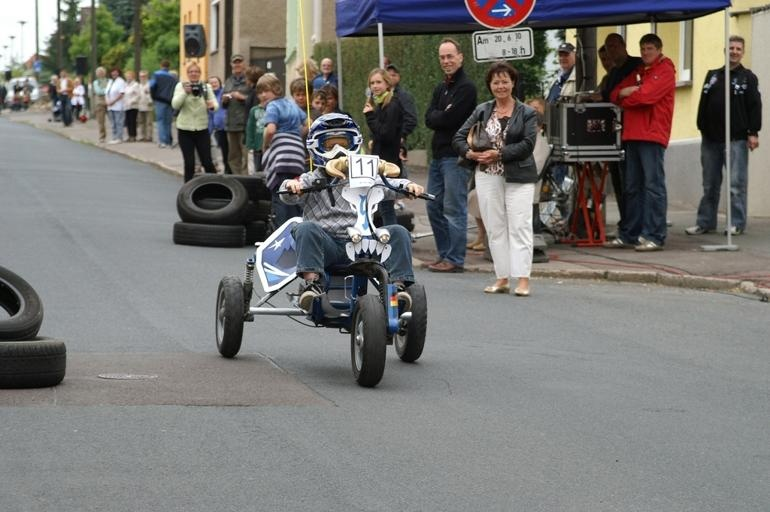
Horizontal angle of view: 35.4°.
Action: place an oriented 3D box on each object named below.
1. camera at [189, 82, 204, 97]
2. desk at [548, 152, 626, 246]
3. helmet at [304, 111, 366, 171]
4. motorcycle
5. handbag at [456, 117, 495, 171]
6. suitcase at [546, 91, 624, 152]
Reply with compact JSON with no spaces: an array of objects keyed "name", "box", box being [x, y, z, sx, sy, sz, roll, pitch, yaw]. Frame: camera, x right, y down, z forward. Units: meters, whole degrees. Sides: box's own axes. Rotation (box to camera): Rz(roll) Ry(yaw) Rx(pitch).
[{"name":"camera","box":[-3.408,-2.971,21.566,0.222,0.177,0.376,-2,9,-10]},{"name":"desk","box":[3.007,-0.741,17.658,1.440,1.731,0.592,1,-1,2]},{"name":"helmet","box":[-0.464,-1.037,10.867,0.485,0.494,0.349,2,4,-4]},{"name":"motorcycle","box":[-0.465,0.181,10.619,1.886,1.671,1.038,6,6,38]},{"name":"handbag","box":[1.016,-1.368,14.013,0.181,0.434,0.528,-1,6,-40]},{"name":"suitcase","box":[2.760,-1.765,16.805,1.483,0.877,0.664,1,-1,35]}]
